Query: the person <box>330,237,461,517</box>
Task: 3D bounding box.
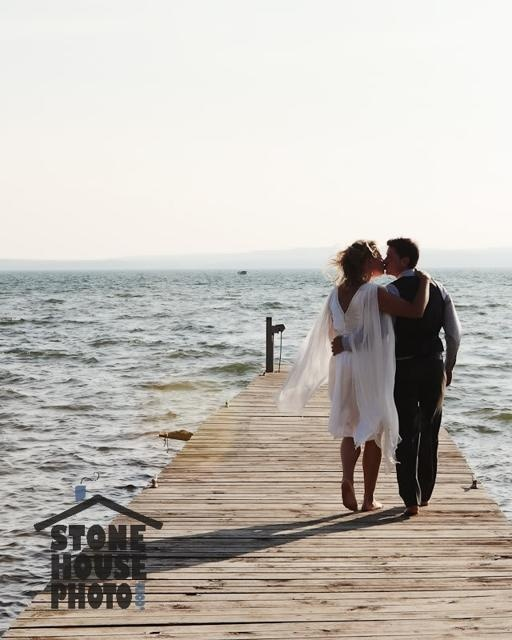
[{"bbox_3d":[1.015,0.357,6.254,0.459,1.757,0.594,5,9,36],"label":"person"}]
